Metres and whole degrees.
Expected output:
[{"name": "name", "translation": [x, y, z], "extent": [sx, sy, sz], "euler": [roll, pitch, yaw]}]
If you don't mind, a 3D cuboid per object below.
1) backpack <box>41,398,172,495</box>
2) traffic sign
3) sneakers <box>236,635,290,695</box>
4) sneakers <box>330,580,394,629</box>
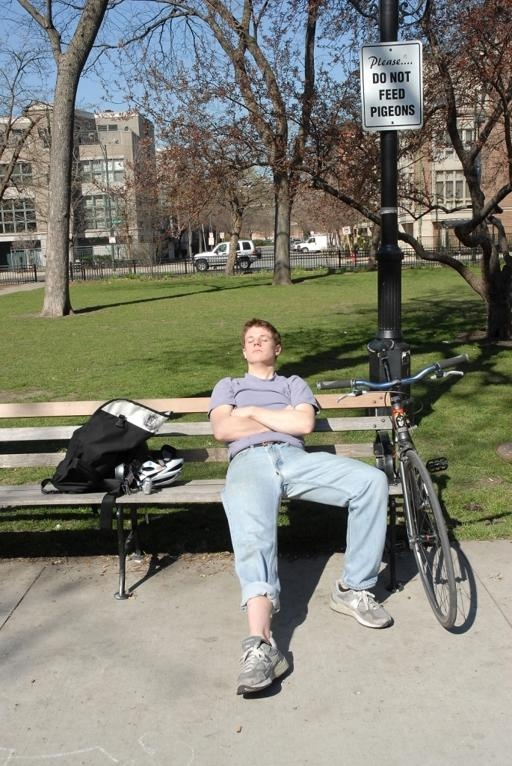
[{"name": "backpack", "translation": [-0.801, 0.342, 4.074], "extent": [0.506, 0.557, 0.264], "euler": [36, 1, -14]}, {"name": "traffic sign", "translation": [0.865, -1.902, 4.898], "extent": [0.391, 0.556, 0.282], "euler": [-1, 11, 9]}, {"name": "sneakers", "translation": [0.022, 1.065, 2.902], "extent": [0.108, 0.153, 0.283], "euler": [-14, -8, 17]}, {"name": "sneakers", "translation": [0.489, 1.024, 3.545], "extent": [0.285, 0.117, 0.126], "euler": [9, 10, 41]}]
